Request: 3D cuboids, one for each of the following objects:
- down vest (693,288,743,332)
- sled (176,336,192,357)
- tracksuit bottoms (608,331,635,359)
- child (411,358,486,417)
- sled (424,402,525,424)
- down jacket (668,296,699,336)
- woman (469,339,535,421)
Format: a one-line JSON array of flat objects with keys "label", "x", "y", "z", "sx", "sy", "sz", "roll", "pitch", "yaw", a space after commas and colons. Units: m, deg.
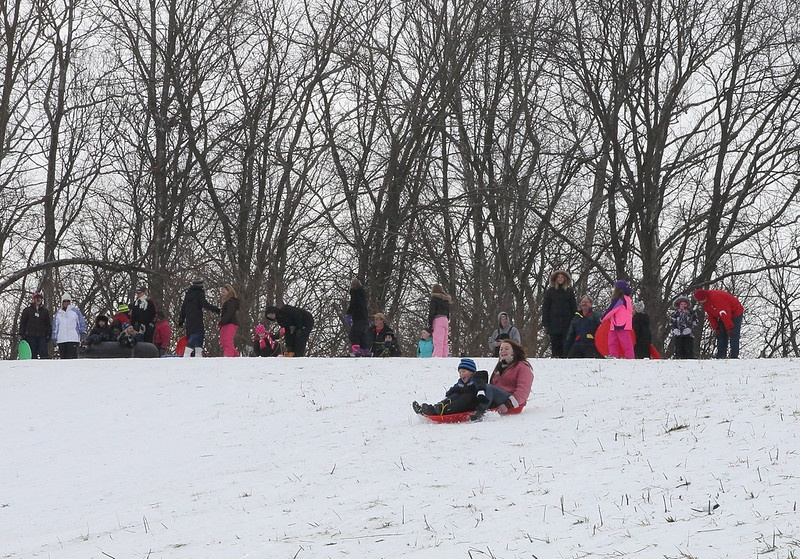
[{"label": "down vest", "x": 7.983, "y": 0.765, "z": 27.588, "sx": 1.166, "sy": 1.015, "sz": 0.876, "roll": -6, "pitch": -12, "yaw": -5}, {"label": "sled", "x": -5.654, "y": 1.763, "z": 28.877, "sx": 0.361, "sy": 0.728, "sz": 0.491, "roll": 5, "pitch": -1, "yaw": -4}, {"label": "tracksuit bottoms", "x": 5.425, "y": 1.562, "z": 26.908, "sx": 0.588, "sy": 0.689, "sz": 0.587, "roll": -2, "pitch": -6, "yaw": 28}, {"label": "child", "x": 0.950, "y": 2.088, "z": 21.408, "sx": 1.295, "sy": 0.853, "sz": 0.947, "roll": 0, "pitch": -4, "yaw": -40}, {"label": "sled", "x": 1.425, "y": 2.638, "z": 21.527, "sx": 1.846, "sy": 0.350, "sz": 0.433, "roll": 1, "pitch": -6, "yaw": 0}, {"label": "down jacket", "x": 7.455, "y": 1.037, "z": 29.049, "sx": 0.656, "sy": 1.312, "sz": 0.668, "roll": 1, "pitch": -1, "yaw": -11}, {"label": "woman", "x": 1.950, "y": 2.133, "z": 22.021, "sx": 1.170, "sy": 2.006, "sz": 0.961, "roll": 21, "pitch": -17, "yaw": -30}]
